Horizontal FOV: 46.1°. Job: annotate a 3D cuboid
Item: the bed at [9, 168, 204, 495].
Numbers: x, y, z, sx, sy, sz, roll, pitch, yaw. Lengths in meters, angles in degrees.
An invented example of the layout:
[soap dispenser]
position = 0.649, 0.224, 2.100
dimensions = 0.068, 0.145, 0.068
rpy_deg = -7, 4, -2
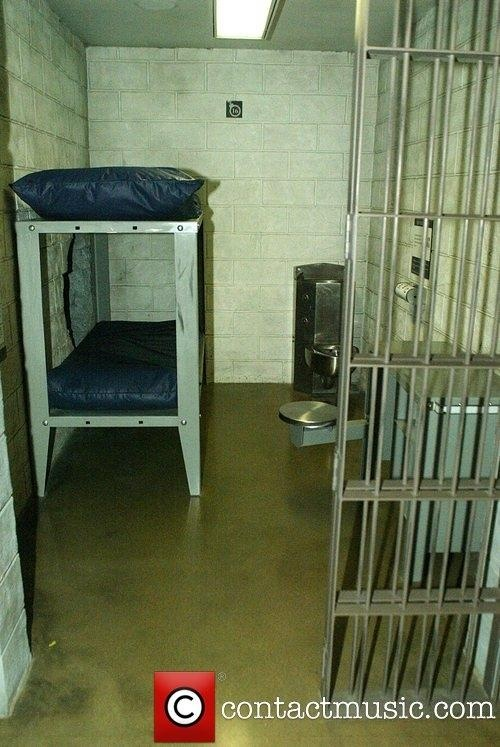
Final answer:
[bed]
position = -0.739, -0.160, 2.952
dimensions = 0.755, 1.264, 1.703
rpy_deg = -1, 27, -4
